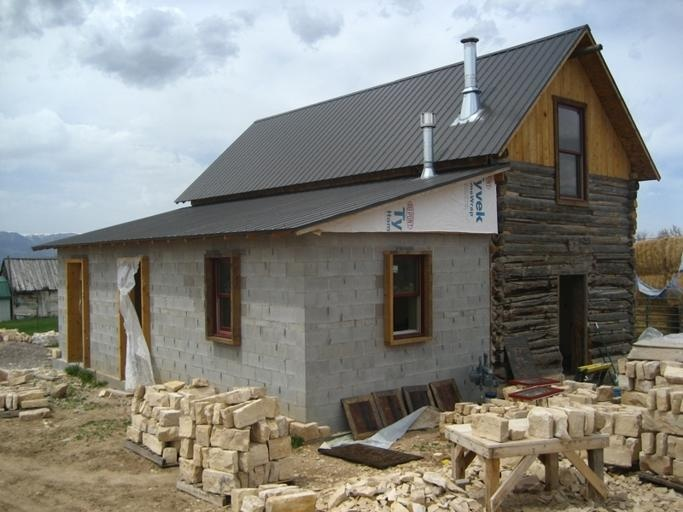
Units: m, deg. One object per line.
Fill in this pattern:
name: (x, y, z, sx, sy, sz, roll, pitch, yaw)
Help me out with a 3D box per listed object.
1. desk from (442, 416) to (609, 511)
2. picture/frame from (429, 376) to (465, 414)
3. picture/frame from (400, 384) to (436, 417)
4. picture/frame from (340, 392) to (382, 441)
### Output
desk: (2.681, 2.895, 8.160, 1.491, 0.738, 1.432, 3, -10, -23)
picture/frame: (2.260, 3.024, 12.266, 0.827, 0.788, 0.060, -1, -26, -40)
picture/frame: (1.630, 3.025, 11.988, 0.601, 0.527, 0.175, -10, -22, -37)
picture/frame: (0.360, 3.183, 11.103, 0.840, 0.857, 0.064, -12, -20, -30)
